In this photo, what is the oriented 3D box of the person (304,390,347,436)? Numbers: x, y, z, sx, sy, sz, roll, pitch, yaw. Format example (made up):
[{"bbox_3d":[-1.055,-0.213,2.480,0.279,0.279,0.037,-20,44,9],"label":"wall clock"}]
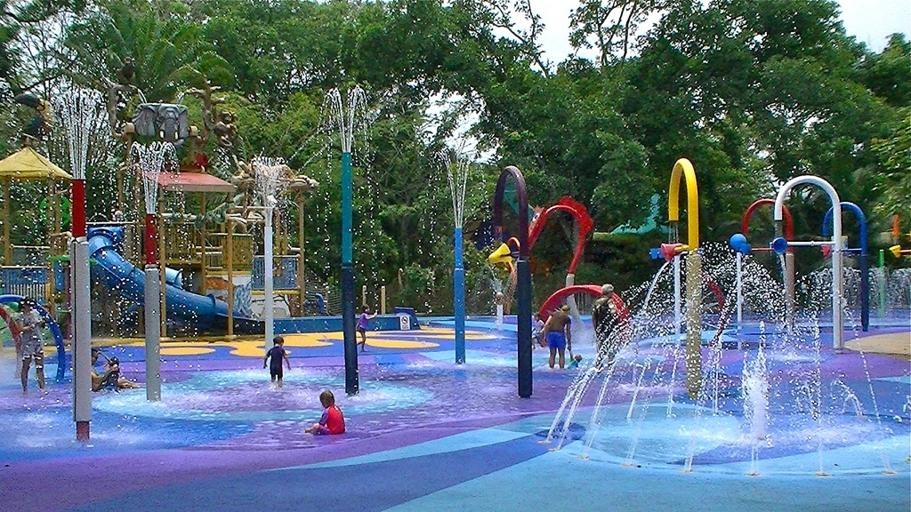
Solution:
[{"bbox_3d":[-3.188,3.878,20.402,1.039,1.025,0.809,-3,6,-24],"label":"person"}]

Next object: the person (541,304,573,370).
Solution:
[{"bbox_3d":[3.165,2.645,26.092,0.922,2.207,0.716,4,1,-6],"label":"person"}]

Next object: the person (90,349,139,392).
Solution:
[{"bbox_3d":[-9.709,3.303,23.387,0.937,1.064,1.749,10,0,40],"label":"person"}]
